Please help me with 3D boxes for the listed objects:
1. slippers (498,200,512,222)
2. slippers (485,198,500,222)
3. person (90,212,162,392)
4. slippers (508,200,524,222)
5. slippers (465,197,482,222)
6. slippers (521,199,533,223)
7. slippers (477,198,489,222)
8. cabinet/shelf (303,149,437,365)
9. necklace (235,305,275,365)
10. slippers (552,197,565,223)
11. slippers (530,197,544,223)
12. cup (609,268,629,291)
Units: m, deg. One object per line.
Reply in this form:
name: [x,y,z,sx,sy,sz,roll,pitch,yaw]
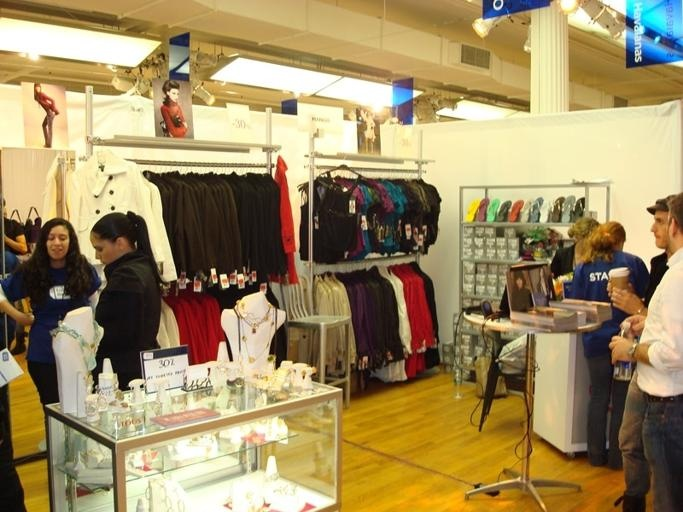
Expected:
slippers: [2.024,-0.533,6.948,0.114,0.294,0.080,11,-5,43]
slippers: [1.892,-0.551,7.020,0.131,0.345,0.048,6,-14,41]
person: [-1.440,0.311,3.771,0.439,1.171,0.399,-2,6,-25]
slippers: [2.113,-0.541,6.848,0.132,0.359,0.091,15,-2,45]
slippers: [1.722,-0.587,7.197,0.070,0.446,0.179,20,-5,-36]
slippers: [2.278,-0.522,6.898,0.114,0.468,0.081,-4,-43,30]
slippers: [1.778,-0.558,7.051,0.115,0.324,0.077,6,-4,39]
cabinet/shelf: [0.302,0.071,6.733,2.416,2.633,1.029,-3,6,-36]
necklace: [-0.557,0.519,3.667,0.264,0.371,0.143,0,5,-13]
slippers: [2.548,-0.534,6.619,0.138,0.416,0.104,-9,-33,46]
slippers: [2.348,-0.537,6.740,0.141,0.417,0.081,-6,-38,37]
cup: [1.981,0.171,4.017,0.128,0.145,0.136,1,4,0]
